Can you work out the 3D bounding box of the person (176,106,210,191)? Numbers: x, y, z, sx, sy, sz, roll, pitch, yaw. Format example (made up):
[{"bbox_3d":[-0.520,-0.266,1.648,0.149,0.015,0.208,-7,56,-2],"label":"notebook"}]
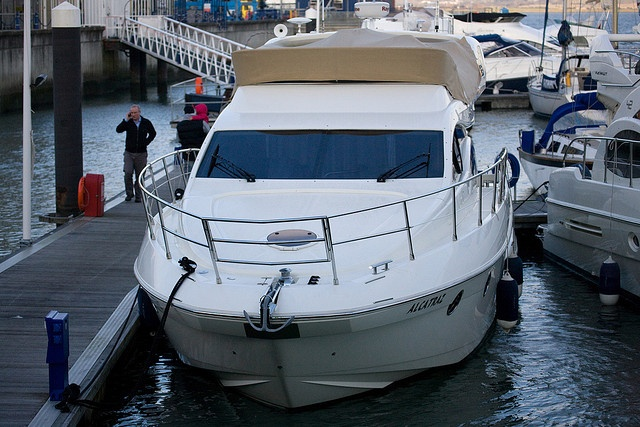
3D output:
[{"bbox_3d":[-2.712,-1.520,18.255,0.605,1.794,0.580,10,28,14],"label":"person"}]

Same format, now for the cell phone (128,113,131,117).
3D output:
[{"bbox_3d":[-3.549,-1.837,15.586,0.027,0.091,0.117,-9,18,-26],"label":"cell phone"}]

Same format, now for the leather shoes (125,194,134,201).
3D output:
[{"bbox_3d":[-3.729,-0.307,16.398,0.115,0.120,0.301,0,-5,-7],"label":"leather shoes"}]
